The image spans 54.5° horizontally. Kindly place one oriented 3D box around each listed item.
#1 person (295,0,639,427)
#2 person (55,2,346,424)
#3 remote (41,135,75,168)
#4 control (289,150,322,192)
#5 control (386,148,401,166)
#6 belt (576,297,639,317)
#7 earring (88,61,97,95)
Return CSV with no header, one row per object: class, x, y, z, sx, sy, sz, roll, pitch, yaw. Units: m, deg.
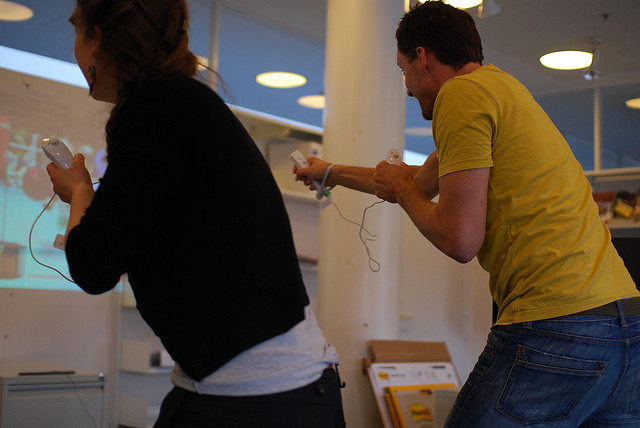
person,0.679,0.106,2.150,0.788,1.254,0.295,-2,3,3
person,-0.377,-0.014,1.894,0.830,1.285,0.319,-2,3,-9
remote,-0.895,-0.197,2.116,0.079,0.151,0.034,-22,-24,-43
control,-0.058,-0.190,2.771,0.134,0.177,0.109,-2,3,2
control,0.322,-0.244,2.711,0.071,0.095,0.034,7,-24,-16
belt,0.977,0.314,2.058,0.127,0.030,0.093,-12,-8,4
earring,-0.699,-0.417,1.916,0.016,0.092,0.023,3,11,2
